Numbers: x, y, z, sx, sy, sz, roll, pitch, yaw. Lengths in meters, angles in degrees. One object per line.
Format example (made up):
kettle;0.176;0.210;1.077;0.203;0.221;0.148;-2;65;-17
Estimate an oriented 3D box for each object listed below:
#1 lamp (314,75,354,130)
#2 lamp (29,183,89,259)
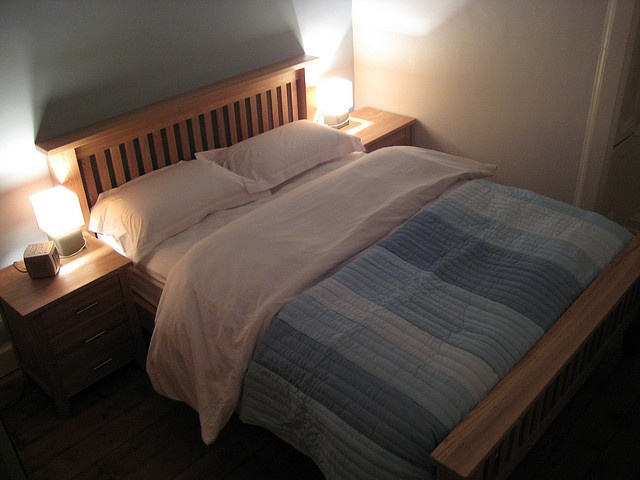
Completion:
lamp;0.041;-1.042;3.936;0.388;0.403;0.381;-3;43;-6
lamp;-1.369;-0.092;2.625;0.221;0.361;0.192;-9;21;-27
